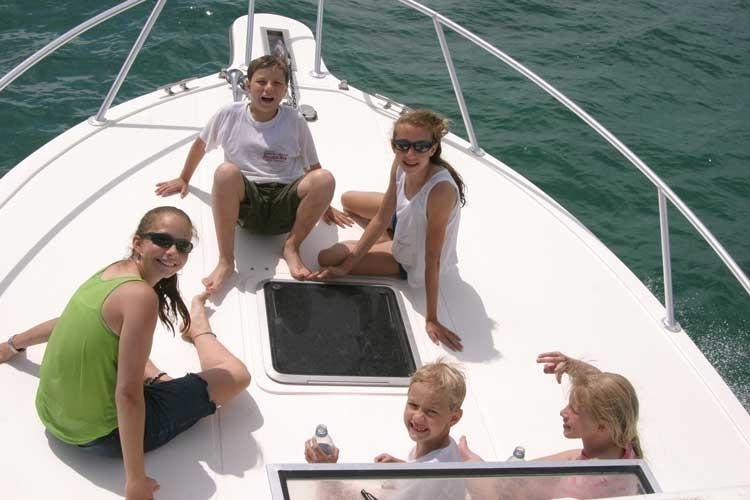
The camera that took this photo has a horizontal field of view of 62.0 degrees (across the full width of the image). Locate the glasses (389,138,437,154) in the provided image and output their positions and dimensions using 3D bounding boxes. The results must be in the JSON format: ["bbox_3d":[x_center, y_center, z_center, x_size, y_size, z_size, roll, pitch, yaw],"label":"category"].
[{"bbox_3d":[0.220,-0.590,3.523,0.243,0.078,0.072,4,28,0],"label":"glasses"}]

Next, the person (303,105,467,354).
[{"bbox_3d":[0.176,-0.195,3.656,1.042,1.182,0.756,14,30,17],"label":"person"}]
